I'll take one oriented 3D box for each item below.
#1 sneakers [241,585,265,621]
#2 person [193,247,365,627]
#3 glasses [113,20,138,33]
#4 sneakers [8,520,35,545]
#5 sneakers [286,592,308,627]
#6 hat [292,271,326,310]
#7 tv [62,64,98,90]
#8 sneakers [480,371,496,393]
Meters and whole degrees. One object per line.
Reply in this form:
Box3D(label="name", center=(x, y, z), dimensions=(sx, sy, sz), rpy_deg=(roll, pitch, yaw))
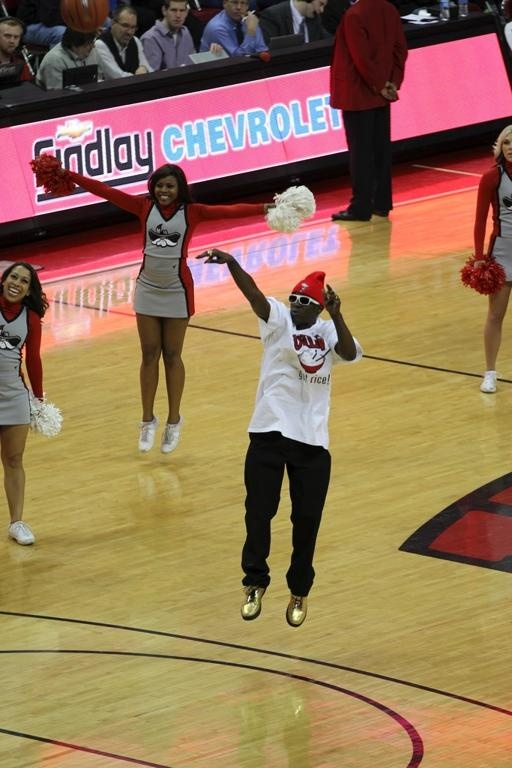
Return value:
Box3D(label="sneakers", center=(-0.015, 0.854, 2.933), dimensions=(0.075, 0.080, 0.200), rpy_deg=(1, 48, 5))
Box3D(label="person", center=(0.159, 0.240, 2.870), dimensions=(0.512, 1.408, 0.695), rpy_deg=(-1, 30, -3))
Box3D(label="glasses", center=(-1.936, -5.225, 10.645), dimensions=(0.198, 0.099, 0.238), rpy_deg=(-5, 30, -26))
Box3D(label="sneakers", center=(-1.322, 0.834, 4.062), dimensions=(0.086, 0.075, 0.196), rpy_deg=(-7, 8, -32))
Box3D(label="sneakers", center=(0.171, 0.937, 2.968), dimensions=(0.064, 0.067, 0.173), rpy_deg=(1, 43, 0))
Box3D(label="hat", center=(0.210, -0.377, 2.904), dimensions=(0.121, 0.123, 0.160), rpy_deg=(14, -2, 28))
Box3D(label="tv", center=(-2.310, -4.039, 9.532), dimensions=(0.503, 0.248, 0.297), rpy_deg=(-12, 31, -22))
Box3D(label="sneakers", center=(1.879, -0.011, 5.858), dimensions=(0.096, 0.083, 0.205), rpy_deg=(3, 27, 10))
